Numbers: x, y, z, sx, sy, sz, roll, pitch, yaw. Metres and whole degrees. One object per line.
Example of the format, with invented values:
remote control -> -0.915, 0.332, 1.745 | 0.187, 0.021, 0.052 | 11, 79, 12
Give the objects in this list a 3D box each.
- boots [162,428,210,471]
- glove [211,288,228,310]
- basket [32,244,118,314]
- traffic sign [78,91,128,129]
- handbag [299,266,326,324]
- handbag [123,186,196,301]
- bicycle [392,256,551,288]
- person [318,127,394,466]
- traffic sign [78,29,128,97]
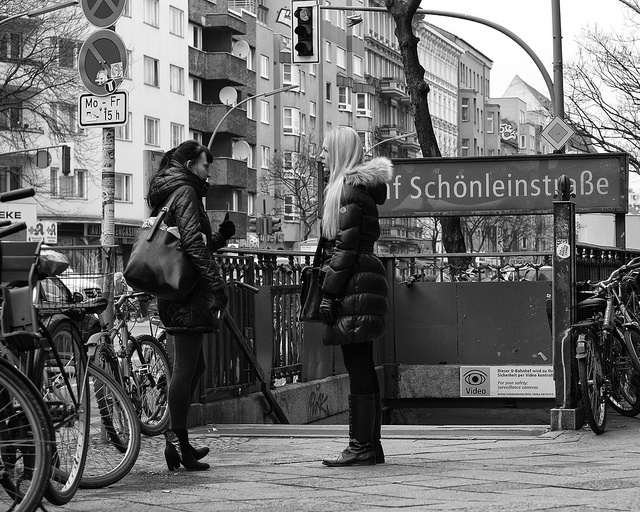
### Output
boots -> -0.973, 1.454, 9.283 | 0.334, 0.338, 0.492 | -1, 5, 13
glove -> -0.754, 0.325, 9.058 | 0.136, 0.151, 0.112 | 5, 4, 40
basket -> -1.863, 0.175, 9.373 | 0.369, 0.315, 0.628 | -1, -7, -1
traffic sign -> -2.253, -1.541, 12.570 | 0.548, 0.375, 0.358 | -1, -2, -4
handbag -> -0.048, 0.323, 9.741 | 0.234, 0.657, 0.513 | 2, -5, 5
handbag -> -1.133, -0.136, 9.179 | 0.564, 0.937, 0.399 | 2, -14, 24
bicycle -> 1.959, 0.186, 15.569 | 1.981, 0.360, 0.631 | -2, -3, 26
person -> 0.283, 0.297, 9.440 | 0.563, 2.669, 0.520 | -1, -2, 12
traffic sign -> -2.275, -2.039, 12.630 | 0.522, 0.735, 0.364 | -1, -2, 0
